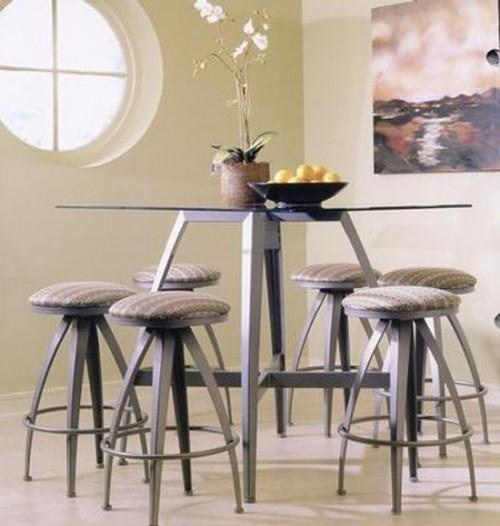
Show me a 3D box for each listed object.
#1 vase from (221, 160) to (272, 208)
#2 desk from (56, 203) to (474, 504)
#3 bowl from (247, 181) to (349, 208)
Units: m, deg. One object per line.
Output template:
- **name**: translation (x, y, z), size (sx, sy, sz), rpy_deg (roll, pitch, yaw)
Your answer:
- **vase**: translation (-0.017, -0.332, 3.109), size (0.209, 0.185, 0.219), rpy_deg (3, 12, 20)
- **desk**: translation (0.120, 0.162, 3.358), size (1.352, 1.260, 1.340), rpy_deg (-1, 2, -45)
- **bowl**: translation (0.173, -0.259, 2.892), size (0.347, 0.097, 0.355), rpy_deg (-1, 5, 0)
